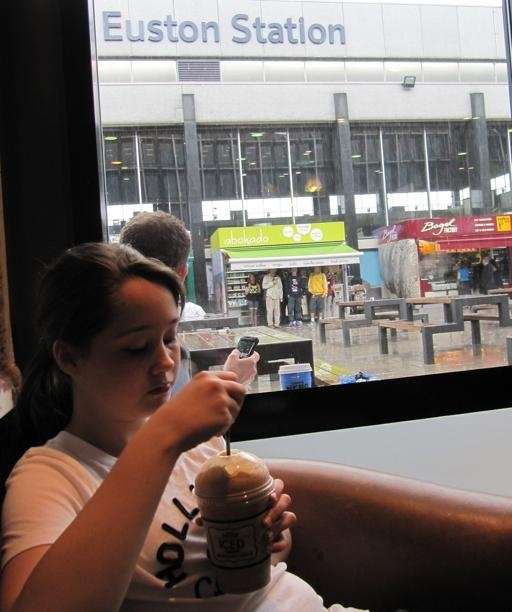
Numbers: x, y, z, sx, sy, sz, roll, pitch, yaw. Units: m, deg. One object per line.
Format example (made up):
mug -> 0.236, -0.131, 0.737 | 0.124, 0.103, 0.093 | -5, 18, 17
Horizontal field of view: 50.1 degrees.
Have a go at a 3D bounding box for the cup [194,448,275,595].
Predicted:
cup -> -0.025, 0.299, 0.751 | 0.105, 0.170, 0.083 | -5, 2, -1

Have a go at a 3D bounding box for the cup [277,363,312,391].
cup -> 0.121, 0.222, 1.696 | 0.078, 0.058, 0.077 | -3, -10, -1
